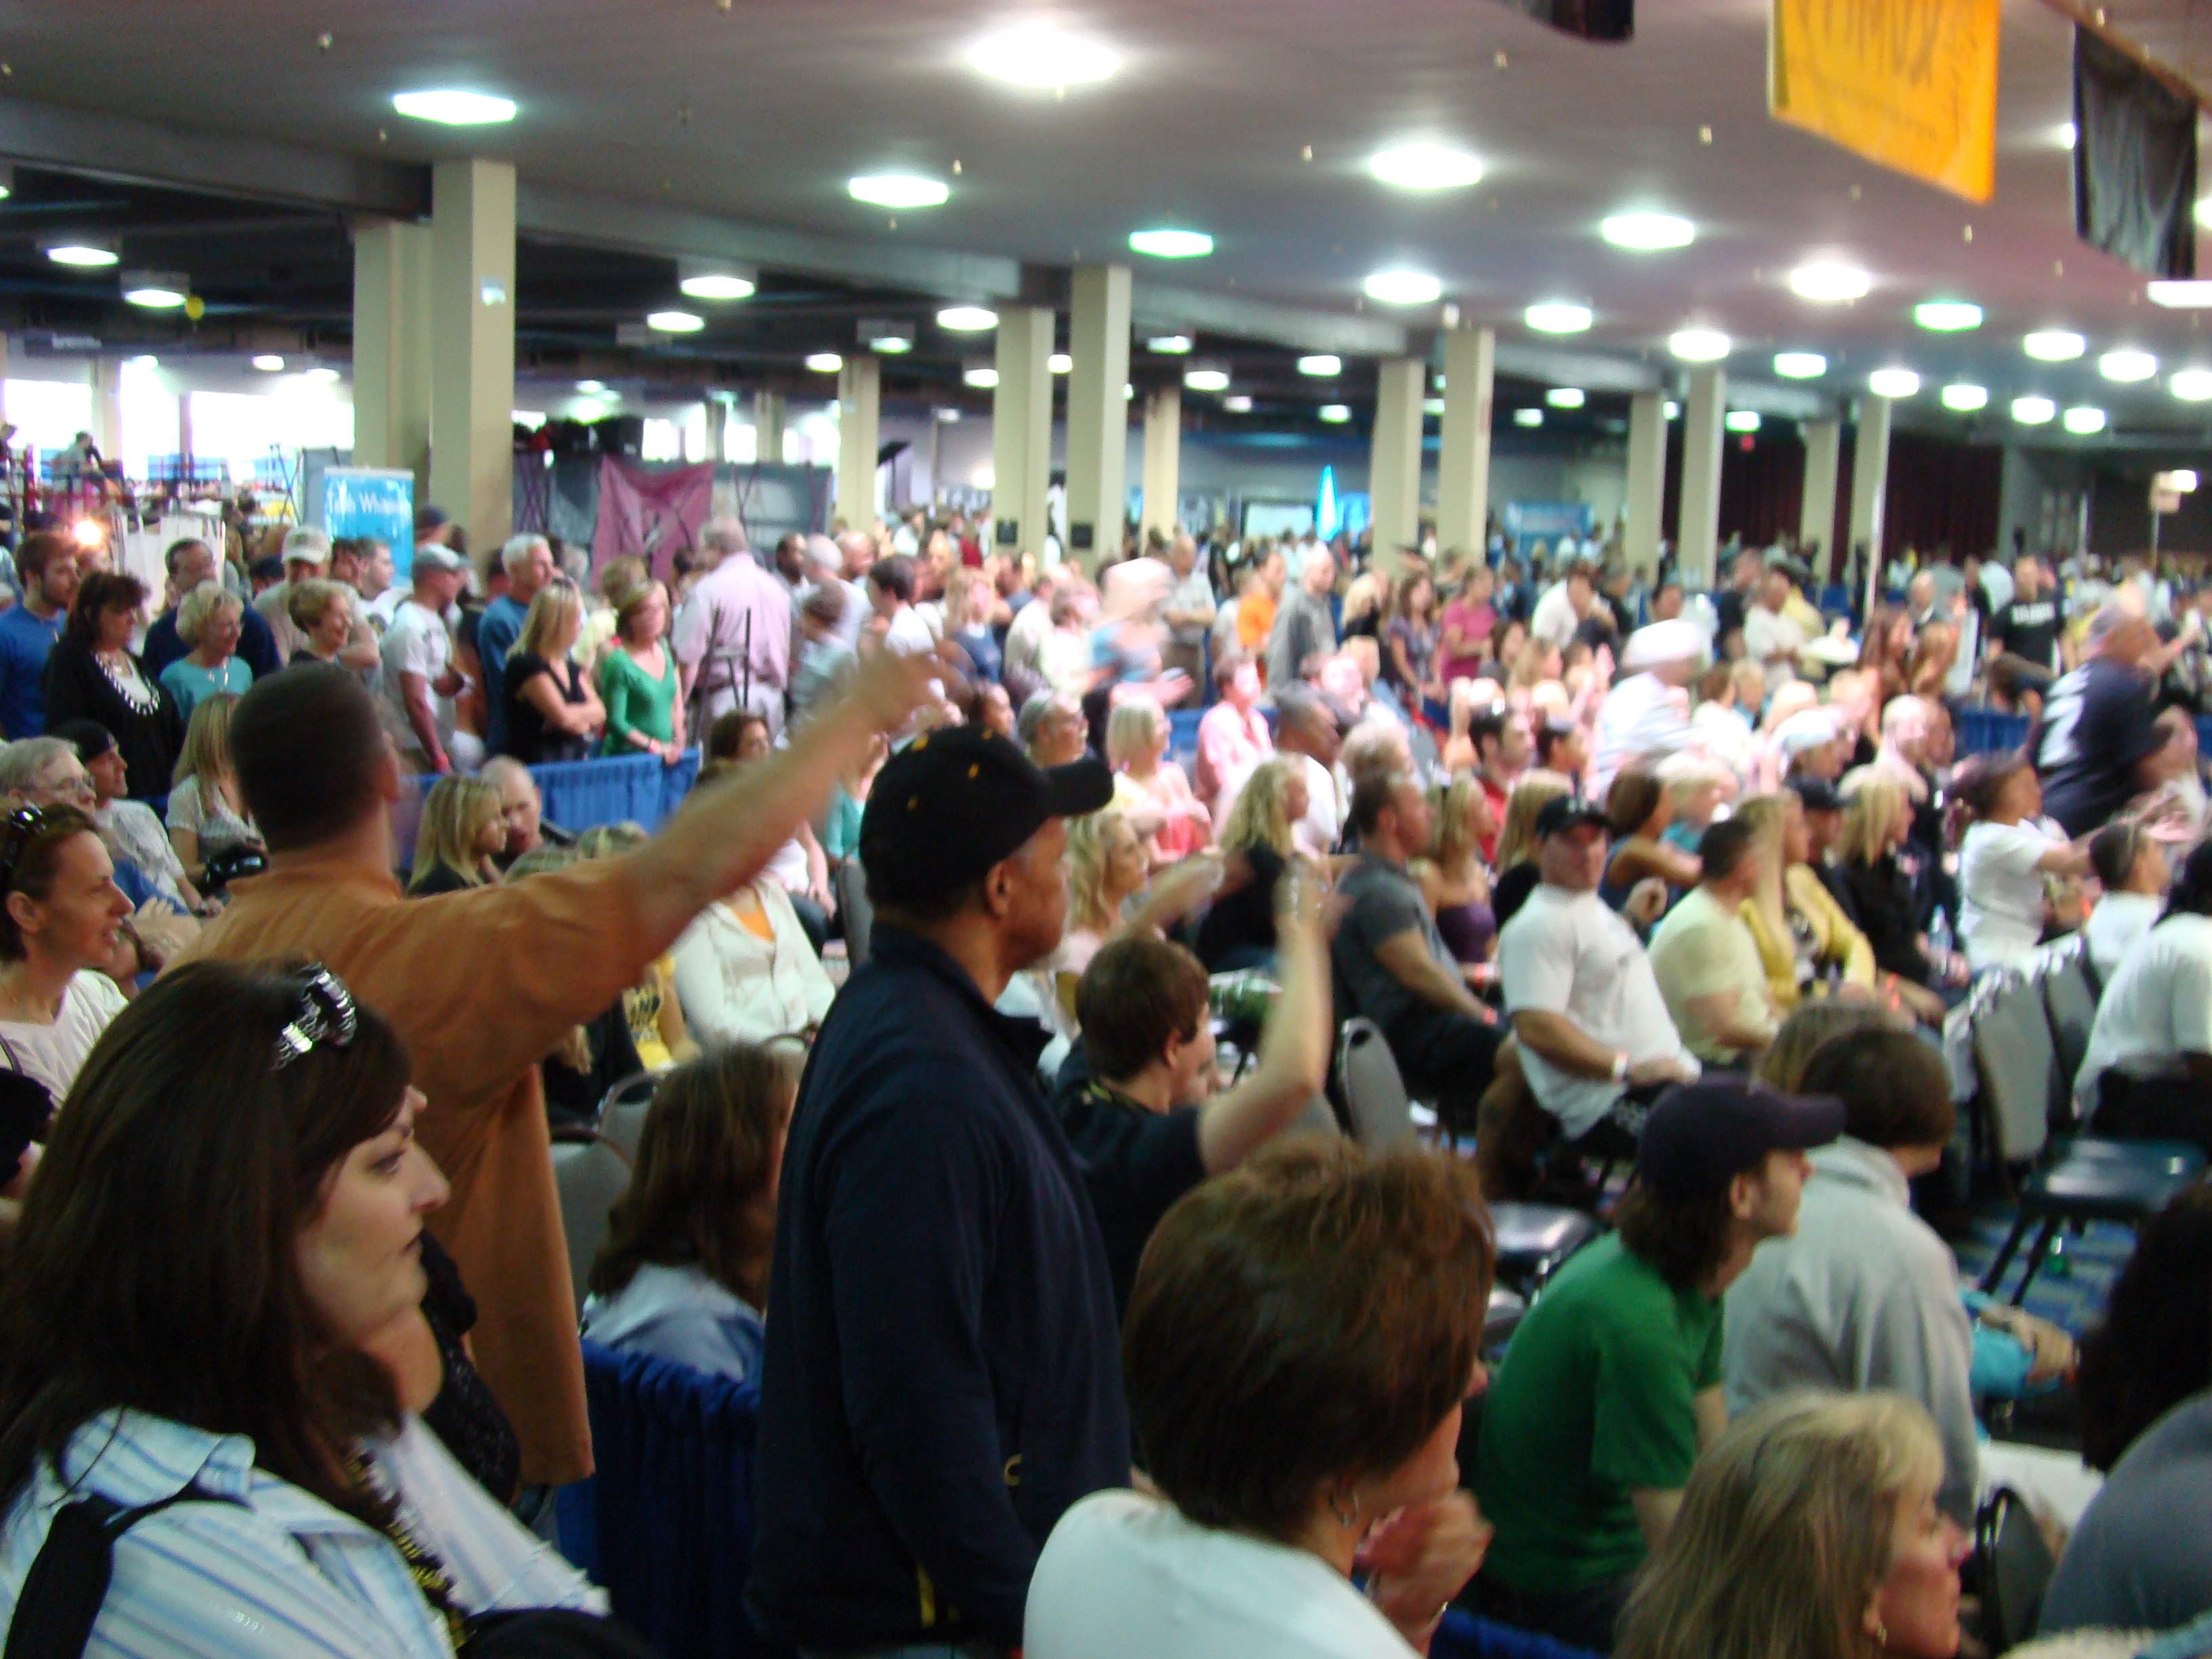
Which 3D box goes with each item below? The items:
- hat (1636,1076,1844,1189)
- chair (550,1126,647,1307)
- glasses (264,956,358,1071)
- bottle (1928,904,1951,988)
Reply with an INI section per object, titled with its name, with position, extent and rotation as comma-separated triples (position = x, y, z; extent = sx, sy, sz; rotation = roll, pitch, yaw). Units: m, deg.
[hat]
position = 1.069, 0.471, 3.084
extent = 0.343, 0.149, 0.234
rotation = -14, 2, 1
[chair]
position = -1.011, 0.760, 3.782
extent = 0.211, 0.225, 0.178
rotation = 3, 1, 43
[glasses]
position = -0.779, 0.182, 1.796
extent = 0.061, 0.086, 0.034
rotation = 38, -34, -28
[bottle]
position = 3.697, 0.509, 8.119
extent = 0.091, 0.310, 0.210
rotation = 3, 3, 7
